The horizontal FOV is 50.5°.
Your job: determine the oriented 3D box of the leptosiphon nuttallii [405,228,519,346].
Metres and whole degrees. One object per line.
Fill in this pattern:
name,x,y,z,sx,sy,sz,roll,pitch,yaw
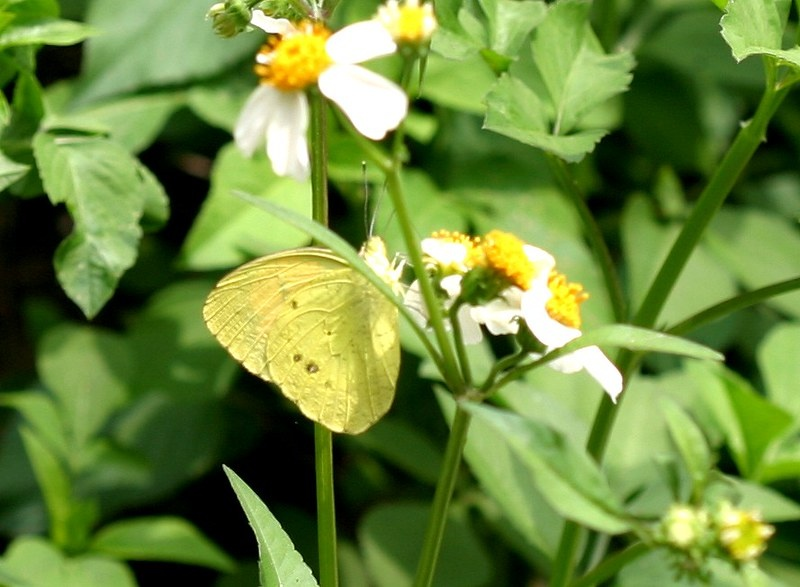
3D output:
leptosiphon nuttallii,0.090,-0.006,0.944,0.121,0.134,0.050,4,-3,15

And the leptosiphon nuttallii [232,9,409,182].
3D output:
leptosiphon nuttallii,-0.087,-0.203,0.862,0.146,0.187,0.058,14,0,24
